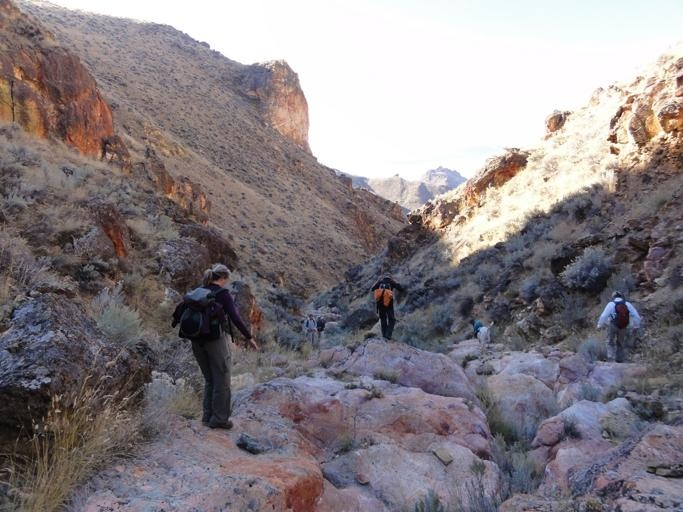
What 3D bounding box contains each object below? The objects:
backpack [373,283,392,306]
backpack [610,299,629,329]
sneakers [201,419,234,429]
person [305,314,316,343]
[{"bbox_3d":[1.097,0.966,14.871,0.488,0.546,0.394,-14,22,-39],"label":"backpack"},{"bbox_3d":[6.160,1.319,13.209,0.385,0.612,0.583,2,-9,12],"label":"backpack"},{"bbox_3d":[-2.144,2.867,10.260,0.464,0.226,0.187,2,3,-15],"label":"sneakers"},{"bbox_3d":[-1.145,2.799,22.003,0.473,1.099,1.677,-1,13,-3],"label":"person"}]
